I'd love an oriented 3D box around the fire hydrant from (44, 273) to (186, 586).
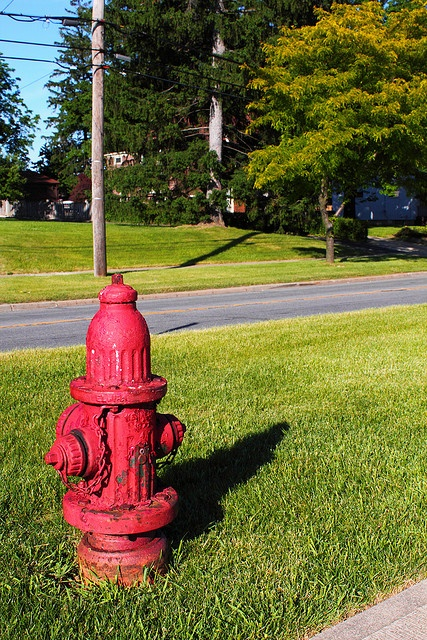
[{"bbox_3d":[-0.427,0.453,3.088,0.595,1.299,0.483,-2,6,-8],"label":"fire hydrant"}]
